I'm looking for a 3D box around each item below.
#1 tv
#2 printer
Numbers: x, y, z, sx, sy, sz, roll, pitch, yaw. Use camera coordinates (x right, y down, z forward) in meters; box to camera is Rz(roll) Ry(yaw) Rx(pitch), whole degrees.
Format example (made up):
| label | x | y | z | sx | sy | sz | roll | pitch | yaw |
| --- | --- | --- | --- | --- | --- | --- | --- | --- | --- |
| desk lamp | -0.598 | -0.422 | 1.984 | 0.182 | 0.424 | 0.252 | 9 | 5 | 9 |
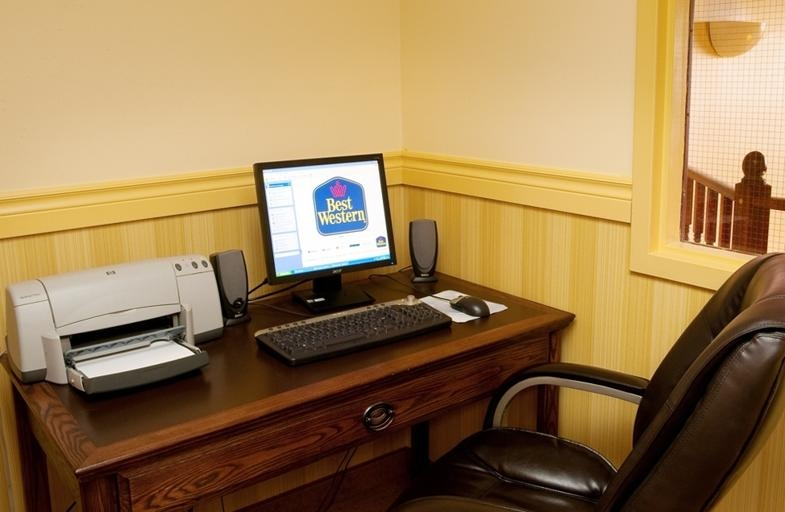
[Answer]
| label | x | y | z | sx | sy | sz | roll | pitch | yaw |
| --- | --- | --- | --- | --- | --- | --- | --- | --- | --- |
| tv | -0.288 | -0.090 | 2.176 | 0.611 | 0.592 | 0.233 | -8 | 17 | -30 |
| printer | -0.932 | 0.137 | 1.725 | 0.579 | 0.249 | 0.450 | -8 | 17 | -37 |
